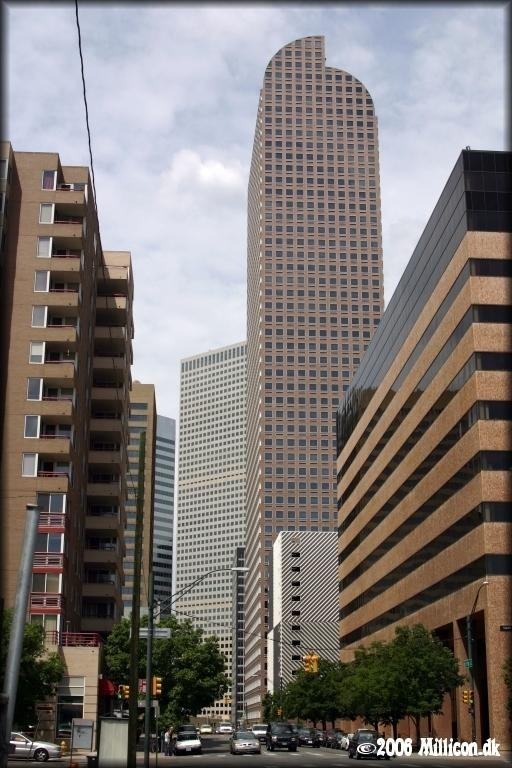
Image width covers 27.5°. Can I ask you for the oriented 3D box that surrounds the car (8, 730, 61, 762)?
[{"bbox_3d":[-8.755,14.436,41.472,2.113,1.018,1.963,11,-22,-21],"label":"car"}]
